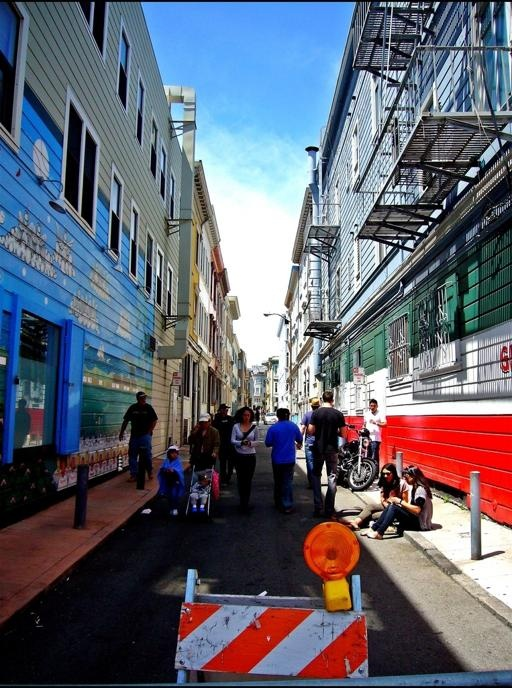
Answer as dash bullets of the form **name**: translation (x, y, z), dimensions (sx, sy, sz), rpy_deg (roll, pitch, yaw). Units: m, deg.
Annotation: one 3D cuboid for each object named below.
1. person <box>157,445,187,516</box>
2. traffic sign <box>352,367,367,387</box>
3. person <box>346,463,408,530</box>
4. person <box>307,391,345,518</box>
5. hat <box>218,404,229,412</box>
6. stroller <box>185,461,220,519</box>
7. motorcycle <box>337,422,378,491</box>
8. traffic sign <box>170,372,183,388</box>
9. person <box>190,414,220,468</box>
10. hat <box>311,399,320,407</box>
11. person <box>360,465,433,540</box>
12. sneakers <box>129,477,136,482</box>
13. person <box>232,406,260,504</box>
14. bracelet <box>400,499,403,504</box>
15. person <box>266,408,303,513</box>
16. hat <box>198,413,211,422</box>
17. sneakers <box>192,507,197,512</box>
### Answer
- **person**: translation (-1.702, 2.697, 8.694), dimensions (0.467, 1.245, 1.528), rpy_deg (2, -12, -11)
- **traffic sign**: translation (3.462, 1.112, 14.864), dimensions (0.340, 0.582, 0.385), rpy_deg (0, -11, 2)
- **person**: translation (1.839, 2.616, 7.168), dimensions (0.633, 0.899, 1.477), rpy_deg (15, -23, -1)
- **person**: translation (1.380, 2.116, 8.533), dimensions (0.610, 2.337, 1.459), rpy_deg (-1, -11, 7)
- **hat**: translation (-0.996, 1.924, 12.892), dimensions (0.247, 0.152, 0.323), rpy_deg (0, -12, -2)
- **stroller**: translation (-0.966, 2.773, 8.005), dimensions (0.538, 1.021, 0.899), rpy_deg (0, -37, 1)
- **motorcycle**: translation (2.677, 2.995, 12.004), dimensions (0.683, 1.742, 2.280), rpy_deg (11, -7, -5)
- **traffic sign**: translation (-3.554, 1.579, 19.406), dimensions (0.452, 0.622, 0.875), rpy_deg (3, -12, -13)
- **person**: translation (-1.013, 2.114, 8.423), dimensions (0.479, 1.533, 0.418), rpy_deg (3, 4, 12)
- **hat**: translation (1.529, 1.571, 11.437), dimensions (0.289, 0.155, 0.373), rpy_deg (6, -9, 5)
- **person**: translation (2.198, 2.476, 6.852), dimensions (0.905, 1.173, 0.624), rpy_deg (5, -19, 2)
- **sneakers**: translation (-3.243, 3.566, 11.399), dimensions (0.168, 0.143, 0.312), rpy_deg (4, -13, -19)
- **person**: translation (-0.260, 2.350, 9.012), dimensions (0.530, 2.020, 1.224), rpy_deg (1, -11, -2)
- **bracelet**: translation (2.205, 2.437, 6.682), dimensions (0.011, 0.047, 0.041), rpy_deg (7, 9, -10)
- **person**: translation (0.536, 2.281, 8.580), dimensions (0.671, 1.983, 1.179), rpy_deg (-1, -11, 5)
- **hat**: translation (-1.009, 1.411, 8.451), dimensions (0.172, 0.182, 0.313), rpy_deg (-3, -19, 5)
- **sneakers**: translation (-1.076, 2.908, 7.628), dimensions (0.072, 0.128, 0.061), rpy_deg (4, -11, -21)
